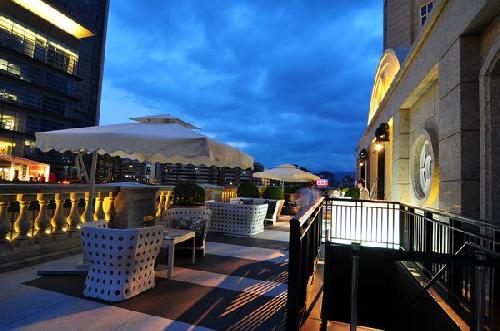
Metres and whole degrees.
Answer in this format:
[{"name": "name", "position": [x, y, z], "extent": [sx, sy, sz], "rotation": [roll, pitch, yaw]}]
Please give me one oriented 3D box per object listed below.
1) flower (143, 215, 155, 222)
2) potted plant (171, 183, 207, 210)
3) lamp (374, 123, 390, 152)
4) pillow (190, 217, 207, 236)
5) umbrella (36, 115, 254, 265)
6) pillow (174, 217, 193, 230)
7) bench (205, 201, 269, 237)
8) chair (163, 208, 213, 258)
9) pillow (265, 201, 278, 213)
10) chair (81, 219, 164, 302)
[{"name": "flower", "position": [-2.506, 1.291, 7.760], "extent": [0.255, 0.172, 0.253], "rotation": [-9, -13, 25]}, {"name": "potted plant", "position": [-2.165, 1.055, 11.301], "extent": [0.852, 0.794, 0.974], "rotation": [-1, -6, -10]}, {"name": "lamp", "position": [4.863, -1.009, 11.757], "extent": [0.472, 0.999, 0.825], "rotation": [6, 13, 20]}, {"name": "pillow", "position": [-1.426, 1.682, 8.770], "extent": [0.513, 0.562, 0.221], "rotation": [2, -35, 4]}, {"name": "umbrella", "position": [-2.626, 0.100, 8.253], "extent": [4.754, 2.573, 2.552], "rotation": [1, 12, -3]}, {"name": "pillow", "position": [-1.891, 1.650, 9.039], "extent": [0.383, 0.141, 0.363], "rotation": [0, 35, -3]}, {"name": "bench", "position": [-0.419, 1.911, 11.560], "extent": [1.753, 0.804, 1.195], "rotation": [-4, -13, 27]}, {"name": "chair", "position": [-1.760, 1.845, 9.099], "extent": [1.270, 1.040, 1.279], "rotation": [0, -10, 2]}, {"name": "pillow", "position": [0.858, 1.729, 13.369], "extent": [0.569, 0.646, 0.237], "rotation": [1, -2, 11]}, {"name": "chair", "position": [-2.739, 1.841, 7.263], "extent": [1.916, 1.684, 1.514], "rotation": [2, 0, 20]}]
